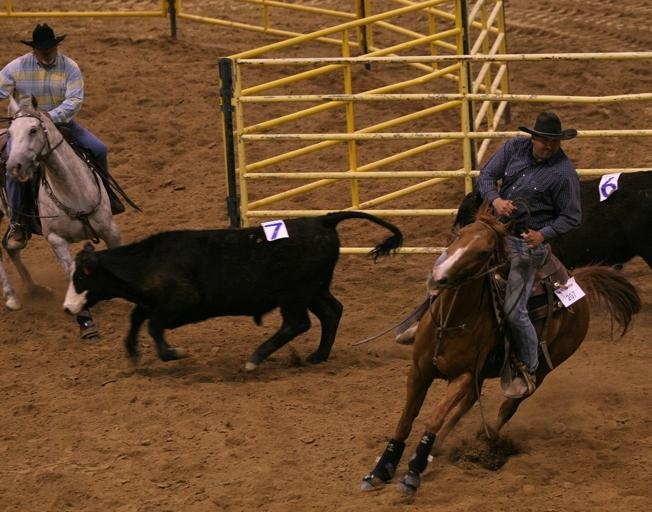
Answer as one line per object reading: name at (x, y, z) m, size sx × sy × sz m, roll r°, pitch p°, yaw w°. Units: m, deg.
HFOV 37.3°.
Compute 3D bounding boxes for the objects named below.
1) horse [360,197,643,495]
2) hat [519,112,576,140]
horse at (1.310, 0.628, 7.615) m, size 0.891 × 2.051 × 2.382 m, roll 24°, pitch 32°, yaw 30°
hat at (1.778, -1.015, 7.756) m, size 0.429 × 0.120 × 0.400 m, roll 4°, pitch 3°, yaw -4°
